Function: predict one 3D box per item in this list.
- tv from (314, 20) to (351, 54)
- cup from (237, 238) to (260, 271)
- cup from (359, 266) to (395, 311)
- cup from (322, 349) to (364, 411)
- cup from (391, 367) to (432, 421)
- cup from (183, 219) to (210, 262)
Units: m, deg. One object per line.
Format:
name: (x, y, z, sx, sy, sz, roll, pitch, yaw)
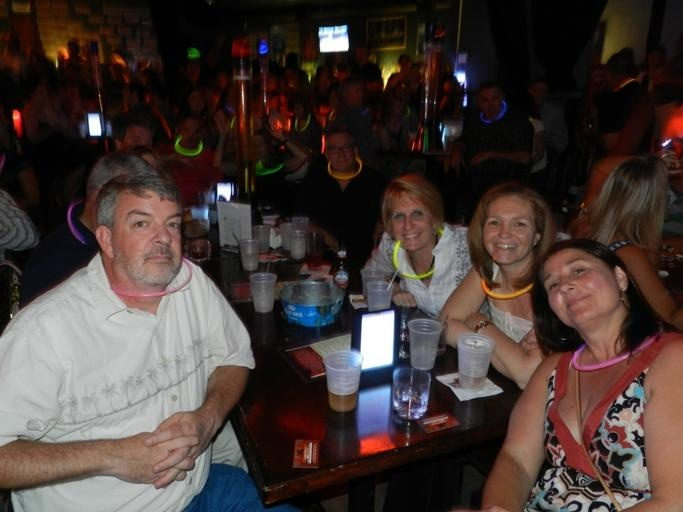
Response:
tv: (-0.125, -3.823, 9.008, 0.747, 0.564, 0.411, 0, 16, 16)
cup: (-0.570, -0.007, 3.217, 0.146, 0.174, 0.150, -3, 7, 0)
cup: (0.174, 0.165, 2.593, 0.192, 0.148, 0.178, 2, 17, -1)
cup: (0.006, 0.486, 1.909, 0.144, 0.183, 0.130, 2, 13, 7)
cup: (0.265, 0.528, 1.916, 0.143, 0.157, 0.142, 3, 0, 0)
cup: (-0.894, -0.078, 3.343, 0.230, 0.233, 0.133, -3, -2, 0)
